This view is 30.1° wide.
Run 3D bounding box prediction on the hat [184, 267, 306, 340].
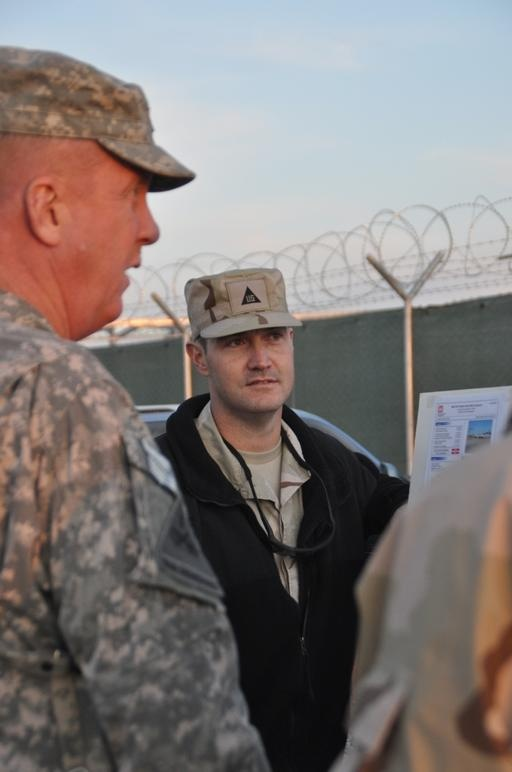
[{"bbox_3d":[-0.074,-0.281,3.259,0.272,0.152,0.315,-7,0,-18],"label":"hat"}]
